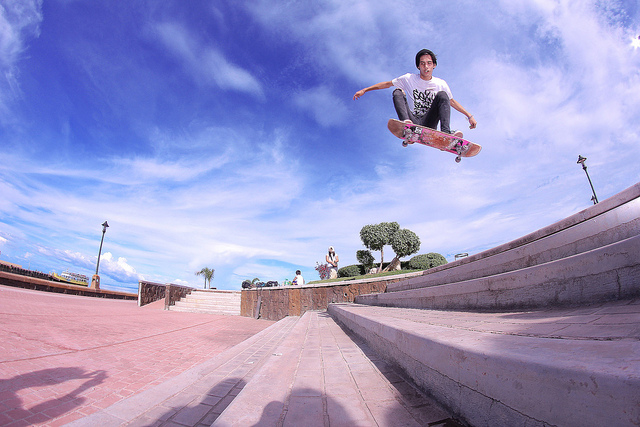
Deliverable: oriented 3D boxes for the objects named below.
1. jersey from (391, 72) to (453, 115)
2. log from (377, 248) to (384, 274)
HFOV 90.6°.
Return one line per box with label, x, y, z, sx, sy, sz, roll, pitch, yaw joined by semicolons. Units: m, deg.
jersey;2.305;-2.719;7.295;1.194;0.717;0.588;3;-13;12
log;5.772;4.462;29.819;0.256;2.307;3.453;3;-13;10
